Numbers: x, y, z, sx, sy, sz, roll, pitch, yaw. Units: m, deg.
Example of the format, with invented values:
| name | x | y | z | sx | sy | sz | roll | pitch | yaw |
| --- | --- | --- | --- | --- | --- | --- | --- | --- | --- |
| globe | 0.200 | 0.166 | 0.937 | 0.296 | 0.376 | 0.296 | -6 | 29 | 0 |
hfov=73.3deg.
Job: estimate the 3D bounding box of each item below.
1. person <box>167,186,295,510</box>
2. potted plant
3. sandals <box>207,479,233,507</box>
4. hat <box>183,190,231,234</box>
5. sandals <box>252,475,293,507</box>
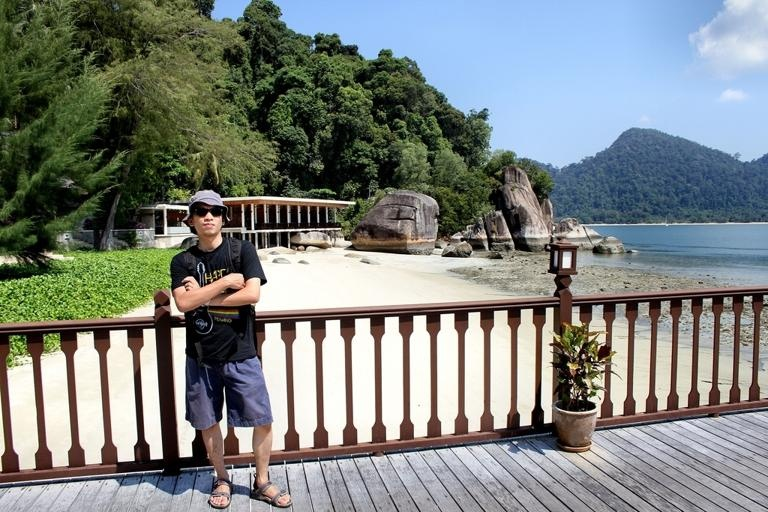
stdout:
| name | x | y | z | sx | sy | sz | roll | pitch | yaw |
| --- | --- | --- | --- | --- | --- | --- | --- | --- | --- |
| person | -1.461 | 0.839 | 4.766 | 0.938 | 2.884 | 0.602 | -1 | 4 | -15 |
| potted plant | 2.042 | 1.344 | 5.388 | 0.623 | 1.292 | 0.474 | 1 | 4 | 4 |
| sandals | -1.509 | 2.193 | 4.761 | 0.122 | 0.098 | 0.308 | 2 | -5 | -14 |
| hat | -1.681 | -0.515 | 4.996 | 0.362 | 0.281 | 0.510 | 2 | -19 | -16 |
| sandals | -1.031 | 2.193 | 4.798 | 0.383 | 0.157 | 0.199 | 10 | 11 | 27 |
